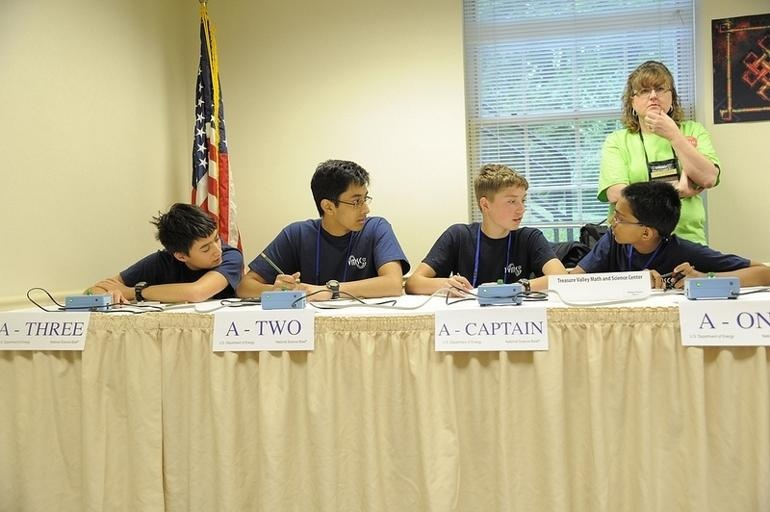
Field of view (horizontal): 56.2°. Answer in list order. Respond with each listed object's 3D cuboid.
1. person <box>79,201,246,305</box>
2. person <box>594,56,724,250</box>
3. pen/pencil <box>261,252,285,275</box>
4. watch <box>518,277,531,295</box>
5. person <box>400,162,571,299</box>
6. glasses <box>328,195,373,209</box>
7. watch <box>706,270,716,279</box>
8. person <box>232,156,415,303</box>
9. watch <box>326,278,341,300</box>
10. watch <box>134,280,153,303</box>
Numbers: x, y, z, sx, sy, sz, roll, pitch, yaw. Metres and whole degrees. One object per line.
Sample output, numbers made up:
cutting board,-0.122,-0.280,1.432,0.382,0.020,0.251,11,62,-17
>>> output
person,-1.010,0.053,3.561,0.602,0.428,0.845,-13,-5,-9
person,1.543,-0.285,4.024,0.590,1.557,0.437,-1,12,24
pen/pencil,-0.557,0.038,3.571,0.023,0.134,0.020,-43,-2,0
watch,0.598,0.130,3.074,0.059,0.085,0.083,-2,-9,3
person,0.518,-0.073,3.587,0.763,0.693,0.543,1,6,8
glasses,-0.123,-0.263,3.542,0.234,0.056,0.120,-4,3,-42
watch,1.374,0.080,3.033,0.028,0.026,0.021,-4,10,-21
person,-0.292,-0.087,3.579,0.789,0.690,0.584,-1,4,-6
watch,-0.231,0.145,3.160,0.053,0.080,0.084,3,-3,-5
watch,-1.105,0.165,3.313,0.059,0.092,0.082,0,-7,-2
